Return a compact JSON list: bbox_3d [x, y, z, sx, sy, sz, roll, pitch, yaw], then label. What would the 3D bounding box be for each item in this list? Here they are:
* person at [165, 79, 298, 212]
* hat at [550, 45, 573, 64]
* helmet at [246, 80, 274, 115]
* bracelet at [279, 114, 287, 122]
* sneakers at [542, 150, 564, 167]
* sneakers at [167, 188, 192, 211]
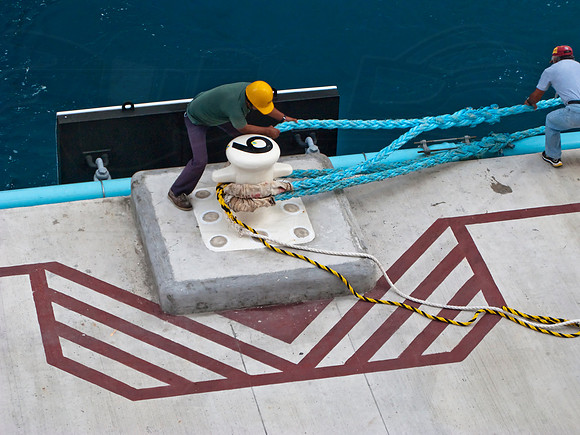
[{"bbox_3d":[-0.684,-0.920,8.192,1.505,1.345,0.851,-19,49,-35],"label":"person"},{"bbox_3d":[3.261,-1.946,9.155,0.276,0.148,0.321,-5,22,-1],"label":"hat"},{"bbox_3d":[-0.295,-1.208,7.818,0.282,0.411,0.301,-3,73,3],"label":"helmet"},{"bbox_3d":[-0.072,-1.047,8.188,0.031,0.063,0.053,19,43,21],"label":"bracelet"},{"bbox_3d":[2.992,-0.640,8.780,0.266,0.125,0.127,40,72,22],"label":"sneakers"},{"bbox_3d":[-1.121,-0.190,7.838,0.313,0.108,0.144,30,44,14],"label":"sneakers"}]
